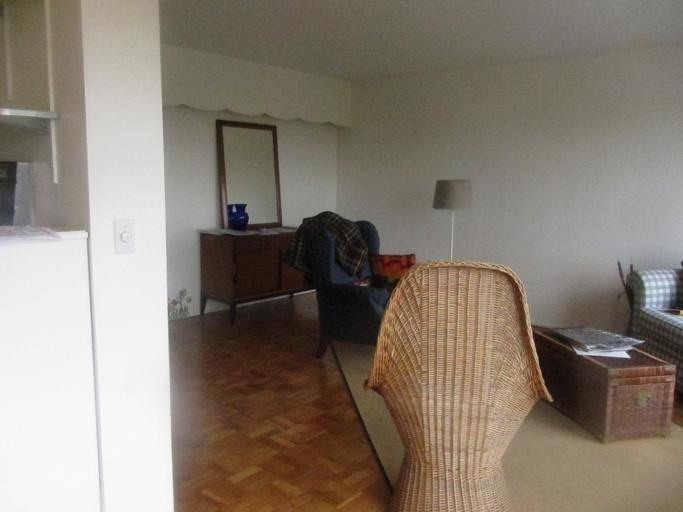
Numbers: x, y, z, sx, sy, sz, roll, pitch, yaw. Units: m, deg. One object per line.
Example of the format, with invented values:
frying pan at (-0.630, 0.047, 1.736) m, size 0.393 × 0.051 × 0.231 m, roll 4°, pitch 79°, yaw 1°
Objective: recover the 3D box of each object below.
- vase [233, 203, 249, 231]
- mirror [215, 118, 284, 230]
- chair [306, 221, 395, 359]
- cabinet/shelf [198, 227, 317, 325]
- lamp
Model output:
vase at (-0.909, -0.370, 4.633) m, size 0.190 × 0.311 × 0.199 m, roll 3°, pitch 2°, yaw -14°
mirror at (-0.880, -0.786, 4.787) m, size 0.195 × 1.013 × 0.775 m, roll 10°, pitch 15°, yaw 38°
chair at (0.183, 0.259, 3.590) m, size 0.792 × 0.878 × 0.822 m, roll -4°, pitch 9°, yaw -24°
cabinet/shelf at (-0.715, 0.131, 4.730) m, size 0.391 × 0.791 × 1.200 m, roll 8°, pitch 10°, yaw 31°
lamp at (0.962, -0.297, 4.366) m, size 0.296 × 0.771 × 0.674 m, roll 2°, pitch 12°, yaw 11°
